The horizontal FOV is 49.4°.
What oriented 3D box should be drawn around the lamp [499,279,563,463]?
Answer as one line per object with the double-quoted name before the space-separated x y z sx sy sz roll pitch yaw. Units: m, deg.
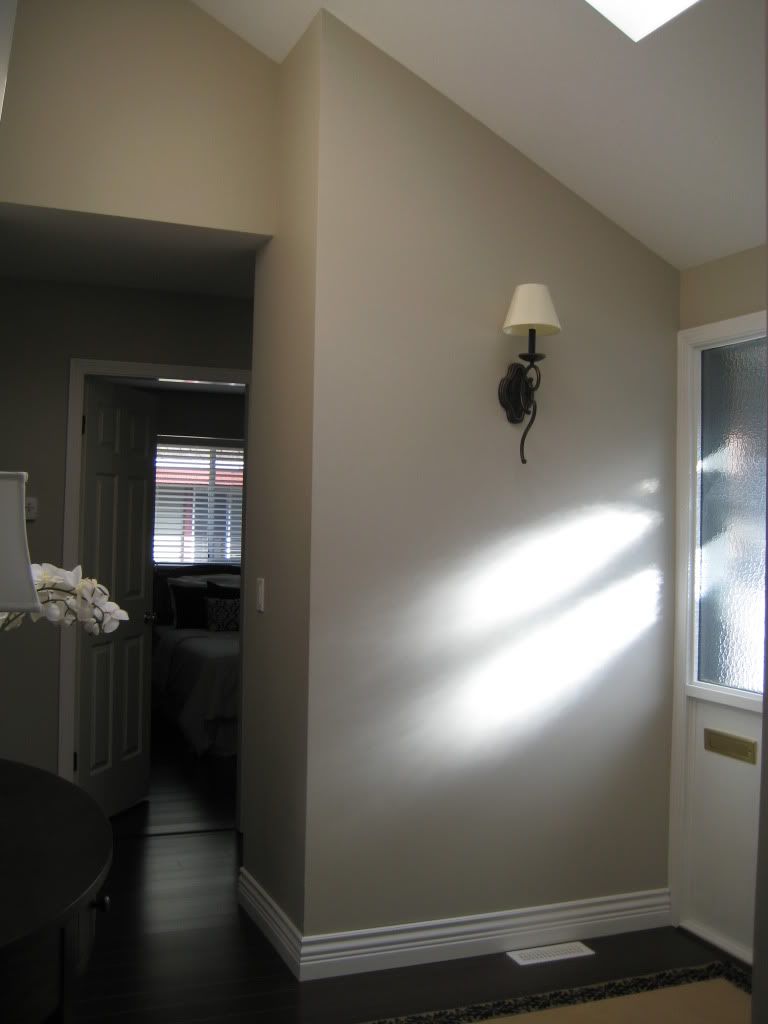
"lamp" 0.453 -0.452 2.678 0.201 0.562 0.355 0 -4 12
